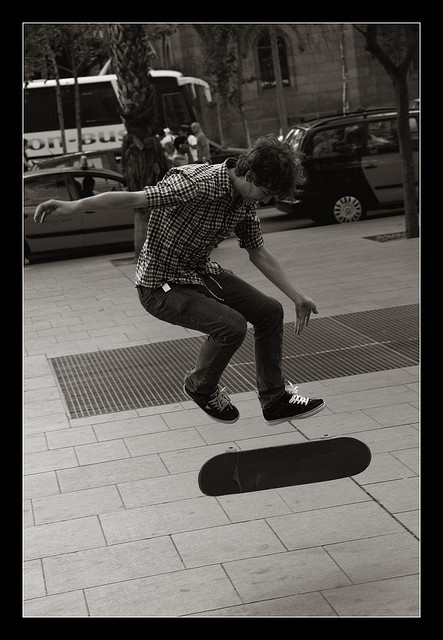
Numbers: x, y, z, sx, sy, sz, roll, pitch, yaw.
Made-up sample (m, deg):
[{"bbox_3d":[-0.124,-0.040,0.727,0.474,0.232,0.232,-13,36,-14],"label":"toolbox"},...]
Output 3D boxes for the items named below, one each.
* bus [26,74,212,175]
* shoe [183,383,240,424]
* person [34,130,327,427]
[{"bbox_3d":[-1.866,-3.767,10.867,4.538,1.959,1.387,7,34,31],"label":"bus"},{"bbox_3d":[-0.041,0.419,2.934,0.310,0.134,0.115,23,40,33],"label":"shoe"},{"bbox_3d":[-0.043,-0.064,2.649,1.250,1.468,0.544,-12,13,-33],"label":"person"}]
